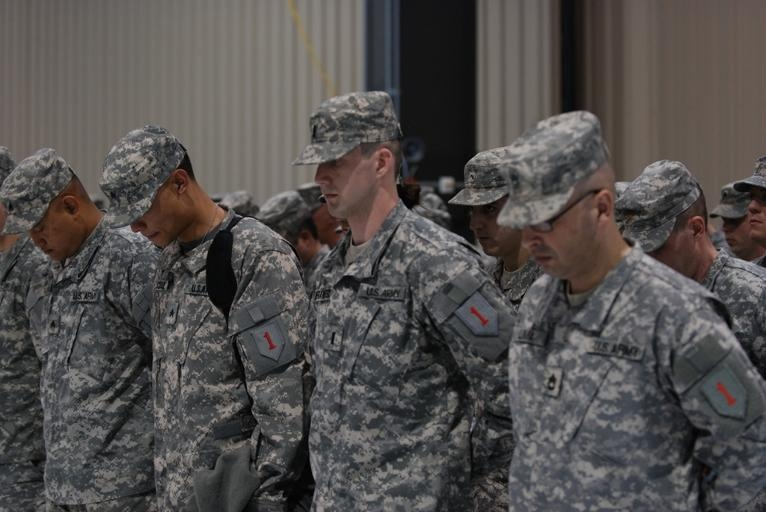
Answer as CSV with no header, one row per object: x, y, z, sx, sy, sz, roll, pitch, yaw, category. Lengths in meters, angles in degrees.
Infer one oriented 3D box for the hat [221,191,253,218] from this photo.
-1.270,-0.479,13.007,0.285,0.158,0.411,0,6,-16,hat

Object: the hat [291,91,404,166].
-0.254,-0.827,9.450,0.578,0.326,0.419,-5,-2,-22,hat

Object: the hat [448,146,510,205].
0.682,-0.551,10.081,0.431,0.237,0.304,-15,4,-32,hat

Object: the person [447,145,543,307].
0.808,-0.169,10.279,0.718,1.167,0.718,-12,-6,26,person

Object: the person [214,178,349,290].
-0.809,-0.182,12.044,0.951,0.982,0.799,1,0,-5,person
